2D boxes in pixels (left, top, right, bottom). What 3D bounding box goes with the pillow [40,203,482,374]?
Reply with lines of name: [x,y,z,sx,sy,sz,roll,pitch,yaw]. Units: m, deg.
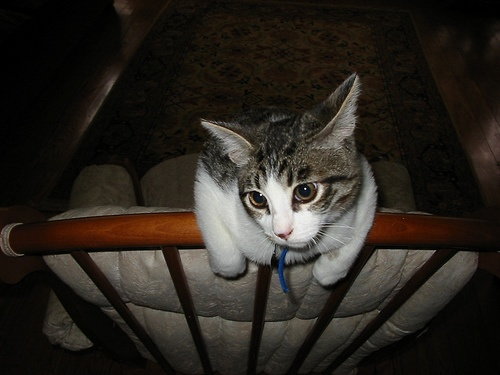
pillow: [0.030,0.359,2.167,1.107,1.585,0.931,1,73,3]
